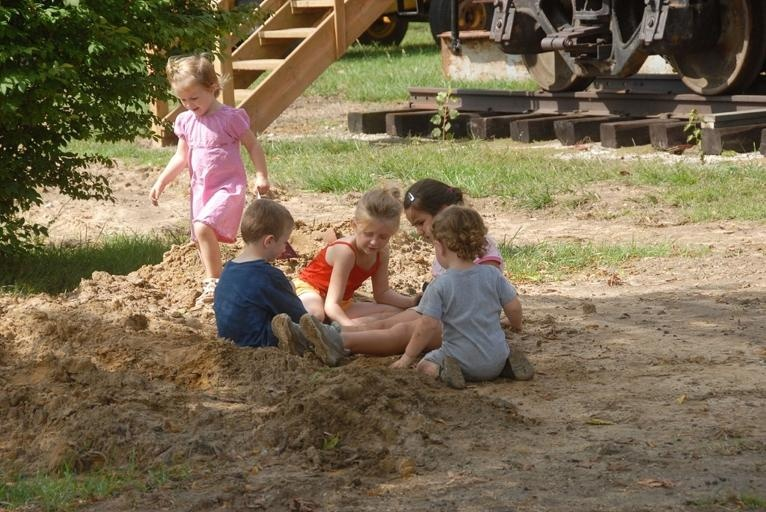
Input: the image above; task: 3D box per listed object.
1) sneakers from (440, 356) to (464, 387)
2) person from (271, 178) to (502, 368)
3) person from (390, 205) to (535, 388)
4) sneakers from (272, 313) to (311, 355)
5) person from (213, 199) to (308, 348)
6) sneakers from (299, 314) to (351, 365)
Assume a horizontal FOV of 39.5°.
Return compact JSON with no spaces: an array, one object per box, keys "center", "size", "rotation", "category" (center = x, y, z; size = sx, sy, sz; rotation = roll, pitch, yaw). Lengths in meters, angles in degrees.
[{"center":[0.469,0.830,7.571],"size":[0.140,0.068,0.224],"rotation":[-8,49,-29],"category":"sneakers"},{"center":[-0.189,0.103,8.327],"size":[1.169,0.952,1.839],"rotation":[6,8,27],"category":"person"},{"center":[0.587,0.357,8.135],"size":[1.341,1.418,0.704],"rotation":[-6,14,-16],"category":"person"},{"center":[-0.676,0.596,7.930],"size":[0.352,0.213,0.163],"rotation":[38,0,-20],"category":"sneakers"},{"center":[-0.924,0.128,8.119],"size":[0.727,1.124,0.358],"rotation":[4,5,29],"category":"person"},{"center":[-0.452,0.539,7.822],"size":[0.269,0.592,0.183],"rotation":[5,46,0],"category":"sneakers"}]
